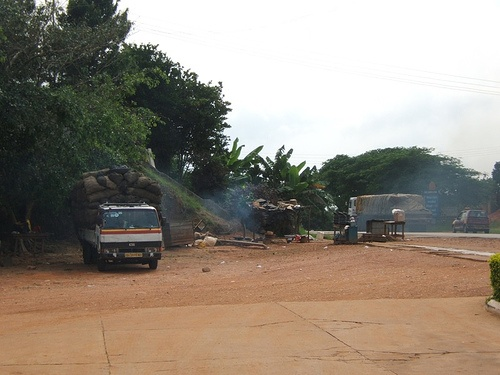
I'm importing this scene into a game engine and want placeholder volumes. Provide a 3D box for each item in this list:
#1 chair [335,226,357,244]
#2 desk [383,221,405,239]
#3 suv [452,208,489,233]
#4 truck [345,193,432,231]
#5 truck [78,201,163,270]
[{"bbox_3d":[4.811,2.356,27.006,0.855,0.964,1.822,2,-2,-15],"label":"chair"},{"bbox_3d":[7.671,2.262,28.973,0.829,1.075,1.119,-2,0,-2],"label":"desk"},{"bbox_3d":[15.590,2.407,38.326,1.585,1.669,2.346,1,-2,-5],"label":"suv"},{"bbox_3d":[9.920,1.889,38.888,2.813,2.716,5.353,3,-3,-40],"label":"truck"},{"bbox_3d":[-4.743,1.752,19.520,1.991,2.386,2.994,3,-2,-40],"label":"truck"}]
